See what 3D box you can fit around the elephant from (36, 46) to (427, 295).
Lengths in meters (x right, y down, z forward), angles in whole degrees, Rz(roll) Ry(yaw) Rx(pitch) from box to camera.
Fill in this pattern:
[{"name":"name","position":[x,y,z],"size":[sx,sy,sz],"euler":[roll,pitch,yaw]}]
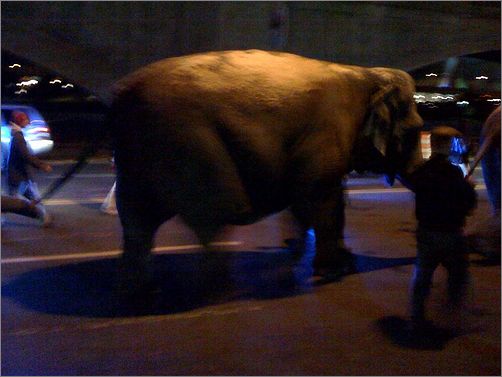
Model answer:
[{"name":"elephant","position":[0.305,-0.428,6.368],"size":[4.552,1.762,1.515],"euler":[-8,19,-33]}]

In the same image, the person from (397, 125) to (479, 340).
[{"name":"person","position":[1.754,0.359,5.135],"size":[0.580,1.798,0.803],"euler":[7,20,13]}]
